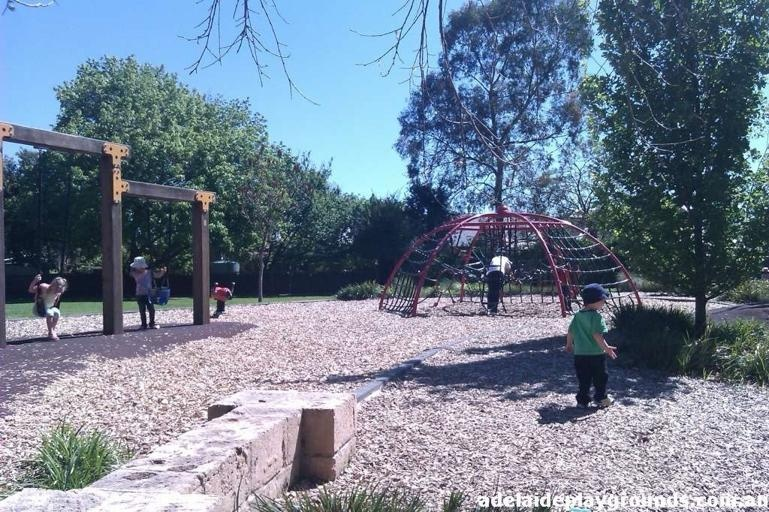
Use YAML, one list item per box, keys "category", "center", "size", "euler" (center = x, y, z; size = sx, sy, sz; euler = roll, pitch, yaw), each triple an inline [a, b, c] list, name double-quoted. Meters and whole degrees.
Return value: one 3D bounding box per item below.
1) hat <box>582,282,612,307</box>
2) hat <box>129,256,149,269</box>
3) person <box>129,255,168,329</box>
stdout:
- category: "hat"
  center: [3.298, 0.565, 11.232]
  size: [0.403, 0.221, 0.311]
  euler: [-18, 18, -39]
- category: "hat"
  center: [-7.172, 0.174, 21.107]
  size: [0.549, 0.314, 0.550]
  euler: [-2, 2, -12]
- category: "person"
  center: [-5.378, 0.776, 16.511]
  size: [0.709, 1.591, 2.568]
  euler: [-1, -1, -17]
